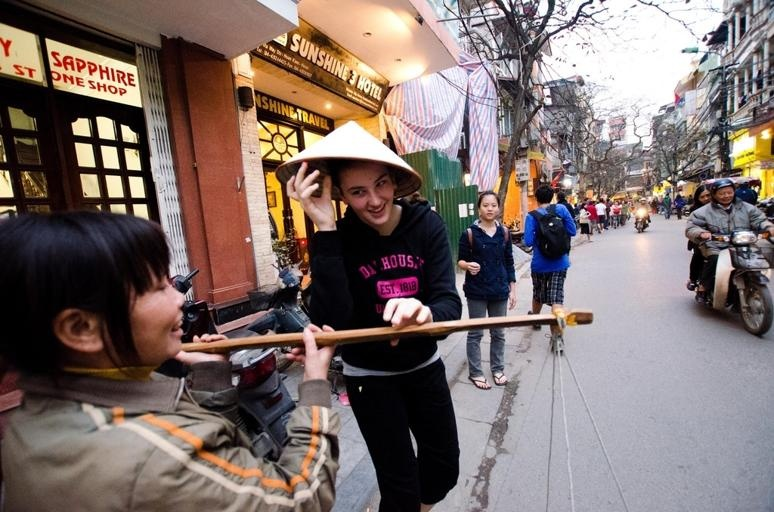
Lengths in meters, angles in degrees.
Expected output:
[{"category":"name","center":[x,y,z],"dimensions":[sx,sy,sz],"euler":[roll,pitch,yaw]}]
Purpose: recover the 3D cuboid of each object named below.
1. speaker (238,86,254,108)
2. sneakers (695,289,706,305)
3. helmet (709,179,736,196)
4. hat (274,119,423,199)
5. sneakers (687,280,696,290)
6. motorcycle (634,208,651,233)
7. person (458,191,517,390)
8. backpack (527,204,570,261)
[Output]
[{"category":"speaker","center":[-2.237,-2.517,8.050],"dimensions":[0.286,0.333,0.286],"euler":[-9,22,-14]},{"category":"sneakers","center":[4.863,0.619,7.922],"dimensions":[0.095,0.236,0.103],"euler":[5,-4,4]},{"category":"helmet","center":[4.877,-1.038,7.455],"dimensions":[0.281,0.207,0.304],"euler":[-2,5,36]},{"category":"hat","center":[-0.280,-0.829,4.210],"dimensions":[0.803,0.363,0.801],"euler":[2,-3,-17]},{"category":"sneakers","center":[4.900,0.465,8.236],"dimensions":[0.156,0.161,0.159],"euler":[0,8,12]},{"category":"motorcycle","center":[9.978,-1.473,19.988],"dimensions":[0.604,0.818,1.372],"euler":[-3,0,31]},{"category":"person","center":[1.281,0.382,6.385],"dimensions":[0.760,2.382,0.559],"euler":[-8,5,-35]},{"category":"backpack","center":[2.271,-0.336,7.071],"dimensions":[0.435,0.670,0.382],"euler":[-13,6,-1]}]
